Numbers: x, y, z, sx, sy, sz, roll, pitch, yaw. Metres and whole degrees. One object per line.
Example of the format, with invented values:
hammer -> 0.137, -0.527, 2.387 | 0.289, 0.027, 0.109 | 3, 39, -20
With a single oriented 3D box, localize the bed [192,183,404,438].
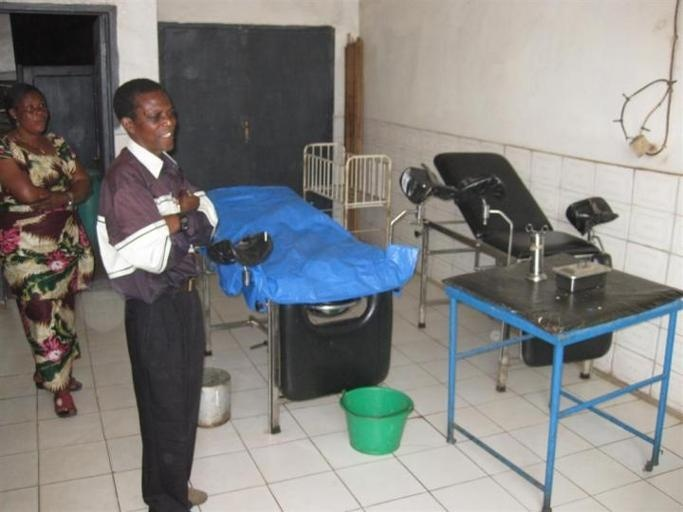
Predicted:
bed -> -0.453, 0.349, 4.457 | 1.024, 1.024, 2.120 | -5, 7, -28

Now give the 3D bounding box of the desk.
desk -> 1.194, 0.607, 3.507 | 1.002, 1.048, 0.836 | -12, 22, -28

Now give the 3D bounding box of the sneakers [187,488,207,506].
sneakers -> -0.725, 1.201, 3.264 | 0.049, 0.057, 0.145 | -2, 2, -38

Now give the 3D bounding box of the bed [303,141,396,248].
bed -> 0.093, -0.654, 6.450 | 0.493, 0.857, 0.865 | -1, 15, -29

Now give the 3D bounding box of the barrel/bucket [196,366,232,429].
barrel/bucket -> -0.742, 0.841, 3.980 | 0.309, 0.338, 0.305 | 4, 7, -1

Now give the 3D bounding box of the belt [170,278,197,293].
belt -> -0.703, 0.132, 2.934 | 0.077, 0.028, 0.057 | 7, 11, 33

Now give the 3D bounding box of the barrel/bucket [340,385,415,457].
barrel/bucket -> 0.200, 0.910, 3.649 | 0.347, 0.235, 0.388 | -2, 1, -28

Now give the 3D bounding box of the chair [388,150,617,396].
chair -> 1.068, 0.018, 4.436 | 1.286, 1.311, 1.615 | -6, 17, -27

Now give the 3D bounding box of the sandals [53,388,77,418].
sandals -> -1.677, 0.896, 3.919 | 0.105, 0.070, 0.190 | -9, 48, -26

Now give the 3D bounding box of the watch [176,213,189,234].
watch -> -0.696, -0.151, 2.901 | 0.051, 0.078, 0.074 | -5, 9, -32

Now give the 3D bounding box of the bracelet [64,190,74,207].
bracelet -> -1.590, -0.336, 3.788 | 0.074, 0.070, 0.070 | -8, 63, -24

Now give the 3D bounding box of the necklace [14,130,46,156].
necklace -> -1.788, -0.658, 3.729 | 0.126, 0.084, 0.161 | -2, 10, -29
